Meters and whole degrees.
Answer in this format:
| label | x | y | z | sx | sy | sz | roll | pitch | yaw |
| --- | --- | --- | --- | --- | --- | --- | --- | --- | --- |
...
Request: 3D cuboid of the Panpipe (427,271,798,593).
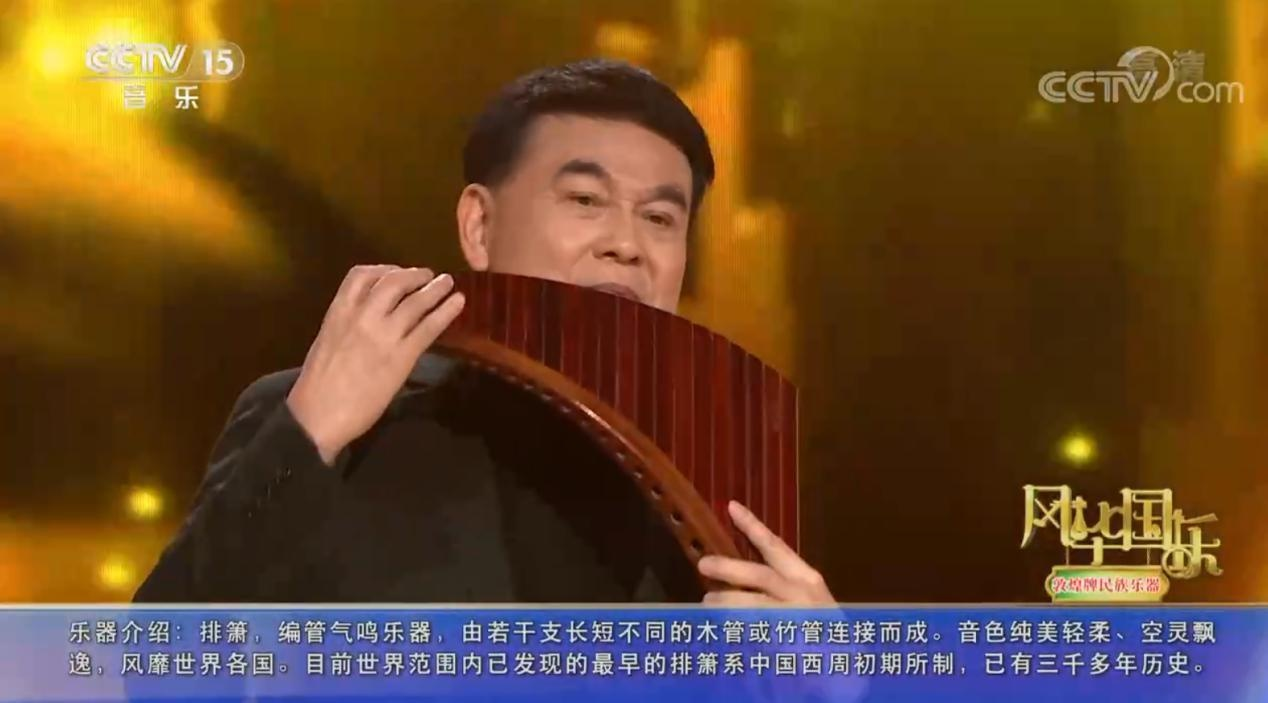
| label | x | y | z | sx | sy | sz | roll | pitch | yaw |
| --- | --- | --- | --- | --- | --- | --- | --- | --- | --- |
| Panpipe | -0.057 | 0.250 | 3.465 | 0.995 | 0.475 | 0.740 | 10 | -9 | -2 |
